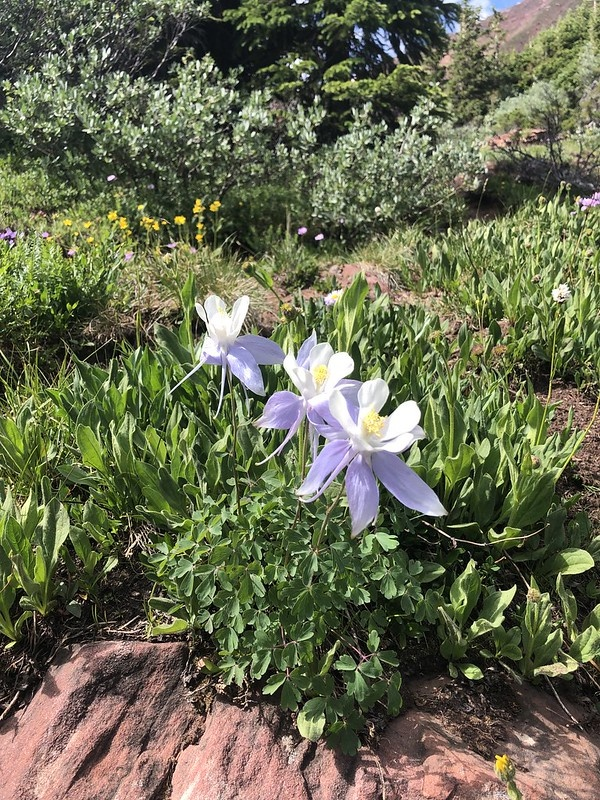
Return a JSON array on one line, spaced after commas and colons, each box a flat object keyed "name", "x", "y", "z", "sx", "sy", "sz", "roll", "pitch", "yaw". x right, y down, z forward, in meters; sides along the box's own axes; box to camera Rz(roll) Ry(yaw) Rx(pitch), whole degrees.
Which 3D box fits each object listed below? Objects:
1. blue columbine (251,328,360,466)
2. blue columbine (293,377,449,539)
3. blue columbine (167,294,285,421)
[{"name": "blue columbine", "x": 0.031, "y": 0.002, "z": 1.325, "sx": 0.246, "sy": 0.162, "sz": 0.263, "roll": 27, "pitch": 28, "yaw": 22}, {"name": "blue columbine", "x": 0.134, "y": 0.098, "z": 1.135, "sx": 0.323, "sy": 0.171, "sz": 0.279, "roll": 28, "pitch": 26, "yaw": 10}, {"name": "blue columbine", "x": -0.145, "y": -0.134, "z": 1.390, "sx": 0.260, "sy": 0.182, "sz": 0.267, "roll": 1, "pitch": -4, "yaw": -25}]
